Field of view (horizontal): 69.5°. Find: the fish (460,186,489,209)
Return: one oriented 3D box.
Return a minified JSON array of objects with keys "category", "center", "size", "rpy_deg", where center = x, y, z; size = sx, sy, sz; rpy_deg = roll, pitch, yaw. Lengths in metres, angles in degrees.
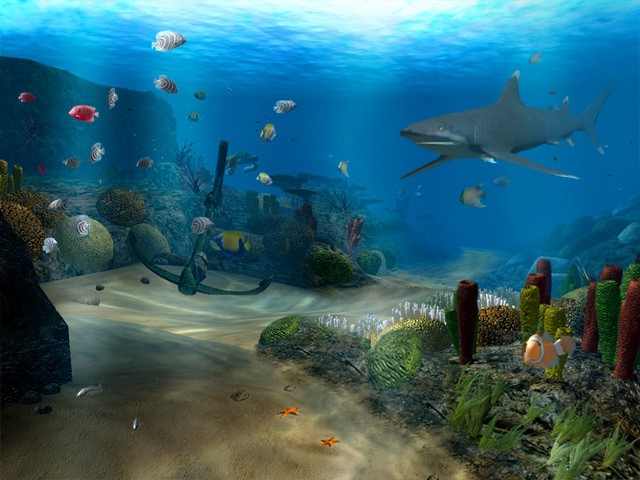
[{"category":"fish","center":[3.503,-0.958,10.648],"size":[0.514,0.540,0.193],"rpy_deg":[-2,-11,18]}]

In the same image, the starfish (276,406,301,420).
[{"category":"starfish","center":[-0.439,2.418,6.501],"size":[0.318,0.098,0.248],"rpy_deg":[-6,14,-11]}]

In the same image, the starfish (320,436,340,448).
[{"category":"starfish","center":[0.127,2.688,6.136],"size":[0.260,0.063,0.173],"rpy_deg":[-4,14,-3]}]

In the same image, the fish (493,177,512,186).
[{"category":"fish","center":[5.655,-1.815,14.434],"size":[0.491,0.252,0.368],"rpy_deg":[2,7,26]}]
